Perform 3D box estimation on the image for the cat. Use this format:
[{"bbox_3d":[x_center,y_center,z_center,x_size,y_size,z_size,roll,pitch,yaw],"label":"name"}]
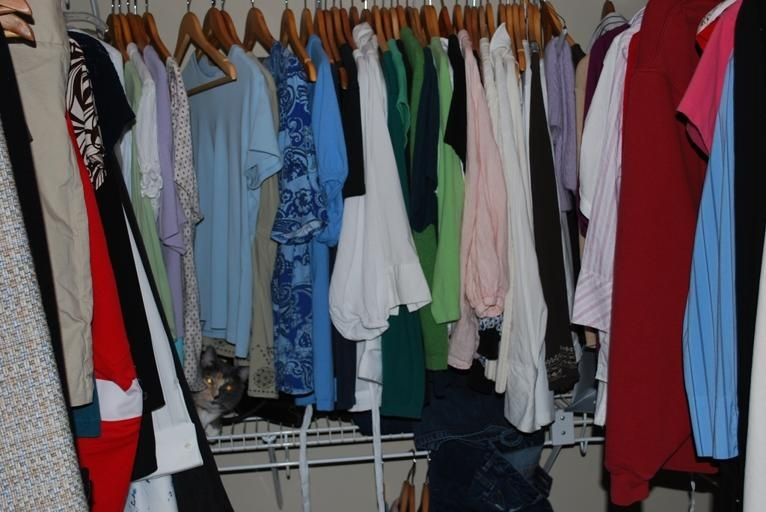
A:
[{"bbox_3d":[-0.459,0.361,2.508,0.132,0.233,0.239,19,10,-9],"label":"cat"}]
